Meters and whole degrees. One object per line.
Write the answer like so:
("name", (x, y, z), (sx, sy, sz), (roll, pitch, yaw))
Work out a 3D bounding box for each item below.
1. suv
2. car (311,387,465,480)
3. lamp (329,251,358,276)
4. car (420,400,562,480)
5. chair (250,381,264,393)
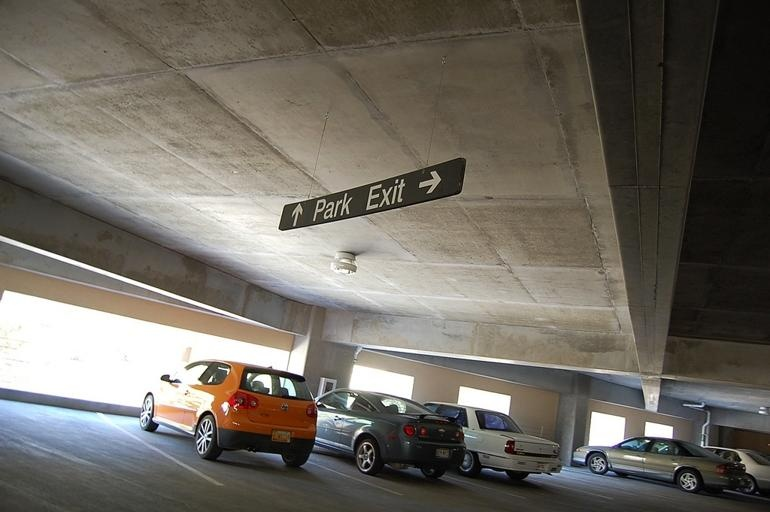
("suv", (-2.934, 2.822, 8.577), (2.989, 1.688, 1.256), (1, -20, 26))
("car", (-0.034, 3.723, 9.750), (2.740, 1.553, 1.251), (-5, -24, 39))
("lamp", (-0.843, 0.137, 9.604), (0.569, 0.317, 0.499), (4, -16, -3))
("car", (2.099, 4.504, 12.096), (1.818, 1.116, 4.321), (21, -16, -37))
("chair", (-2.271, 2.313, 8.164), (0.188, 0.178, 0.238), (13, -20, -41))
